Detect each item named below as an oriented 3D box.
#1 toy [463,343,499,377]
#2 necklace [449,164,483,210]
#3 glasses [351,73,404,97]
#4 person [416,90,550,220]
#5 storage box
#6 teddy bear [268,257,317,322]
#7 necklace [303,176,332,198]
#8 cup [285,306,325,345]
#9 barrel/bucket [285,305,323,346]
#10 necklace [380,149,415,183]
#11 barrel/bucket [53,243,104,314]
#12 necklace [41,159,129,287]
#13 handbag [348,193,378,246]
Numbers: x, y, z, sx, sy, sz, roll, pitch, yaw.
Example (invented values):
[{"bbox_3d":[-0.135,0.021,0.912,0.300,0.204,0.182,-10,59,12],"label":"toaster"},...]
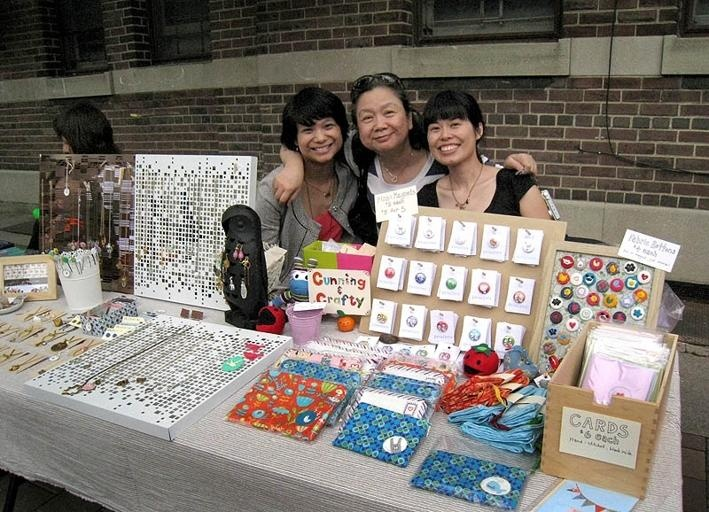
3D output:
[{"bbox_3d":[0.443,0.369,1.794,0.110,0.108,0.112,6,-2,-26],"label":"toy"},{"bbox_3d":[0.566,-0.347,2.464,0.041,0.230,0.135,-15,29,-43],"label":"necklace"},{"bbox_3d":[0.119,-0.855,2.471,0.260,0.124,0.154,2,14,4],"label":"glasses"},{"bbox_3d":[0.569,-0.466,2.462,0.395,0.735,0.816,-6,5,-43],"label":"person"},{"bbox_3d":[0.729,0.381,1.443,0.296,0.281,0.447,10,32,23],"label":"storage box"},{"bbox_3d":[-0.237,0.170,2.165,0.232,0.314,0.108,2,15,-22],"label":"teddy bear"},{"bbox_3d":[-0.195,-0.371,2.662,0.123,0.035,0.092,10,-11,36],"label":"necklace"},{"bbox_3d":[-0.204,0.266,2.028,0.142,0.117,0.152,-2,6,0],"label":"cup"},{"bbox_3d":[-0.207,0.278,2.026,0.147,0.143,0.152,-2,17,0],"label":"barrel/bucket"},{"bbox_3d":[0.200,-0.482,2.667,0.097,0.137,0.036,4,50,43],"label":"necklace"},{"bbox_3d":[-1.308,0.118,2.332,0.194,0.248,0.185,-1,13,0],"label":"barrel/bucket"},{"bbox_3d":[-1.330,-0.165,2.474,0.658,0.703,0.038,1,2,21],"label":"necklace"},{"bbox_3d":[0.053,-0.190,2.622,0.198,0.268,0.104,-2,2,-4],"label":"handbag"}]
